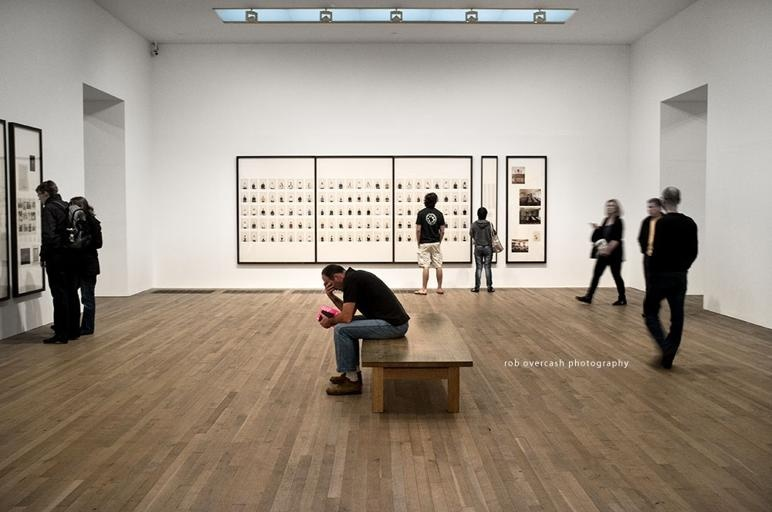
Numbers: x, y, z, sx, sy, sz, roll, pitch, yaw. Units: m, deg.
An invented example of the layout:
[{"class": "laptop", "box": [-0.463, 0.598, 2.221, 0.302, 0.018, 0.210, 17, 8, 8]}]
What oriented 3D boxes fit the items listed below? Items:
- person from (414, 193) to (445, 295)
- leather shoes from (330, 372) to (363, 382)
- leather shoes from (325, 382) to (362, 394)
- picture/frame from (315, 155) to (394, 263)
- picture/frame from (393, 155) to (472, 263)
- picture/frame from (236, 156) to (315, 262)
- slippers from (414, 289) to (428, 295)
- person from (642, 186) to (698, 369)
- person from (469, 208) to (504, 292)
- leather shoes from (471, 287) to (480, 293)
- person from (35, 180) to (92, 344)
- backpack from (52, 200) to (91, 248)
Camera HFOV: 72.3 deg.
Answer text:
[{"class": "person", "box": [0.979, -0.266, 11.608, 0.621, 2.201, 0.573, 1, 9, 6]}, {"class": "leather shoes", "box": [-0.435, 1.381, 6.071, 0.373, 0.147, 0.141, 2, -3, -1]}, {"class": "leather shoes", "box": [-0.458, 1.488, 5.952, 0.406, 0.184, 0.151, 3, -2, -4]}, {"class": "picture/frame", "box": [-0.762, -1.242, 12.576, 2.321, 3.080, 0.206, 0, 3, 0]}, {"class": "picture/frame", "box": [1.044, -1.216, 12.385, 2.343, 3.313, 0.112, 0, -2, -3]}, {"class": "picture/frame", "box": [-2.667, -1.219, 12.539, 2.327, 3.144, 0.193, 0, -1, -3]}, {"class": "slippers", "box": [0.801, 0.780, 11.676, 0.124, 0.092, 0.234, -2, -10, 12]}, {"class": "person", "box": [3.575, 0.416, 6.661, 0.515, 1.939, 0.481, 5, 10, 31]}, {"class": "person", "box": [2.293, -0.159, 12.110, 0.679, 1.933, 0.759, 1, 9, 10]}, {"class": "leather shoes", "box": [2.059, 0.750, 12.056, 0.169, 0.119, 0.092, 8, -5, -4]}, {"class": "person", "box": [-4.831, 0.061, 7.836, 0.519, 2.312, 0.744, -6, 10, -32]}, {"class": "backpack", "box": [-4.689, -0.465, 7.853, 0.401, 0.789, 0.655, -5, -1, 20]}]
